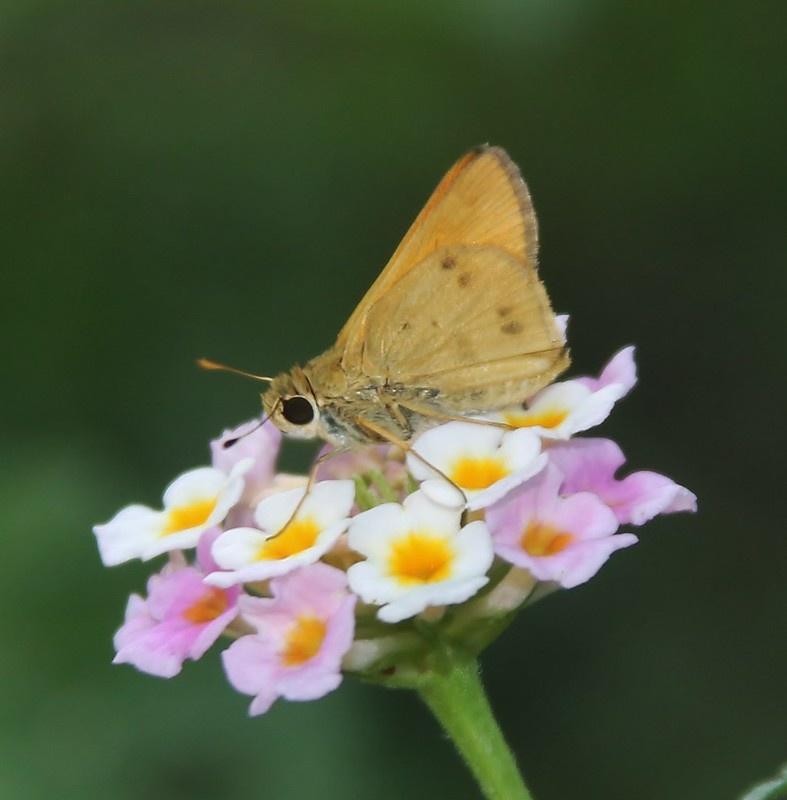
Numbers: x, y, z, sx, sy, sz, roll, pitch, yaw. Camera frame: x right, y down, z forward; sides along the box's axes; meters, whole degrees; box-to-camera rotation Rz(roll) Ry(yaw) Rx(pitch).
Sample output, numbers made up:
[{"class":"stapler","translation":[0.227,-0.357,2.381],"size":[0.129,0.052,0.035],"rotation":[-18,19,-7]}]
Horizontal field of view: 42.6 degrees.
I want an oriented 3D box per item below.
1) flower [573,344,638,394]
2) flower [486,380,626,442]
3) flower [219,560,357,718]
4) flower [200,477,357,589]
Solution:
[{"class":"flower","translation":[0.411,-0.043,1.922],"size":[0.106,0.054,0.094],"rotation":[-38,-35,-32]},{"class":"flower","translation":[0.276,0.037,1.870],"size":[0.257,0.293,0.091],"rotation":[2,-75,21]},{"class":"flower","translation":[-0.143,0.382,1.581],"size":[0.239,0.210,0.096],"rotation":[-31,-37,16]},{"class":"flower","translation":[-0.184,0.234,1.681],"size":[0.212,0.199,0.078],"rotation":[-10,-61,30]}]
